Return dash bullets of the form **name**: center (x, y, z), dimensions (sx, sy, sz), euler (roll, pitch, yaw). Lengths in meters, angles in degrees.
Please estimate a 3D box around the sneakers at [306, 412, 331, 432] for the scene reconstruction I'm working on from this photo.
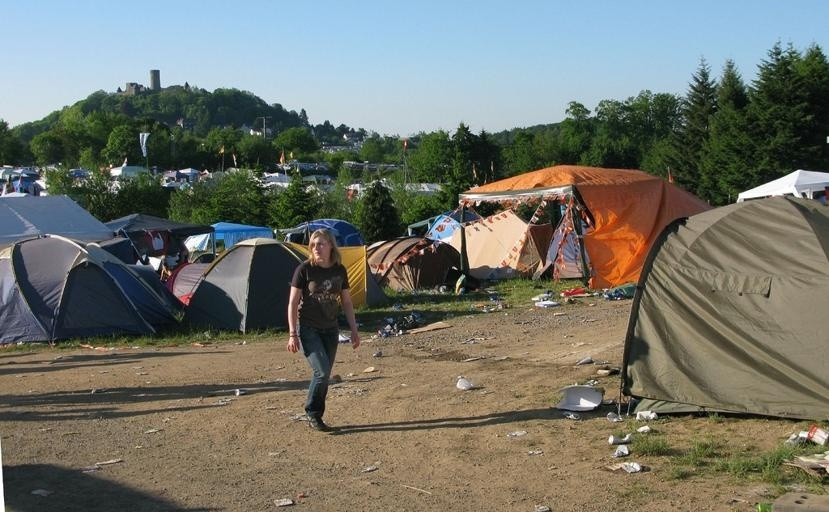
- **sneakers**: center (-1.492, 2.522, 12.942), dimensions (0.194, 0.230, 0.480), euler (-8, 12, -43)

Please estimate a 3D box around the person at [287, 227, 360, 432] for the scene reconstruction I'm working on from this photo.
- **person**: center (-1.457, 1.110, 12.994), dimensions (0.598, 3.012, 1.004), euler (8, 14, 40)
